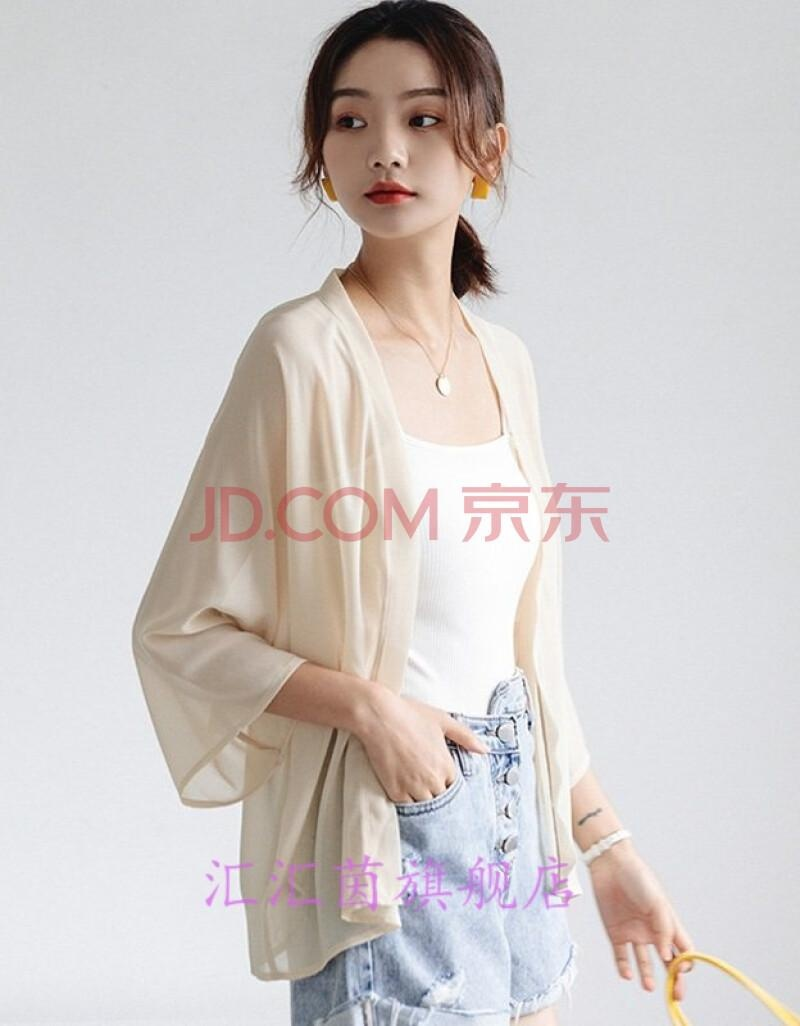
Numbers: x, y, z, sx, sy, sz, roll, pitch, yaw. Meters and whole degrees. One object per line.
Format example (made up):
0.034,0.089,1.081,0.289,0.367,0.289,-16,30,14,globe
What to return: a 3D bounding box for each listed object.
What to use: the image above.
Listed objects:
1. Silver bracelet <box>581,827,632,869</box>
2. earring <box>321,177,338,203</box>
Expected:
0.270,0.438,1.406,0.059,0.021,0.044,-31,-3,0,Silver bracelet
-0.091,-0.408,1.356,0.015,0.040,0.031,-11,-12,-7,earring
